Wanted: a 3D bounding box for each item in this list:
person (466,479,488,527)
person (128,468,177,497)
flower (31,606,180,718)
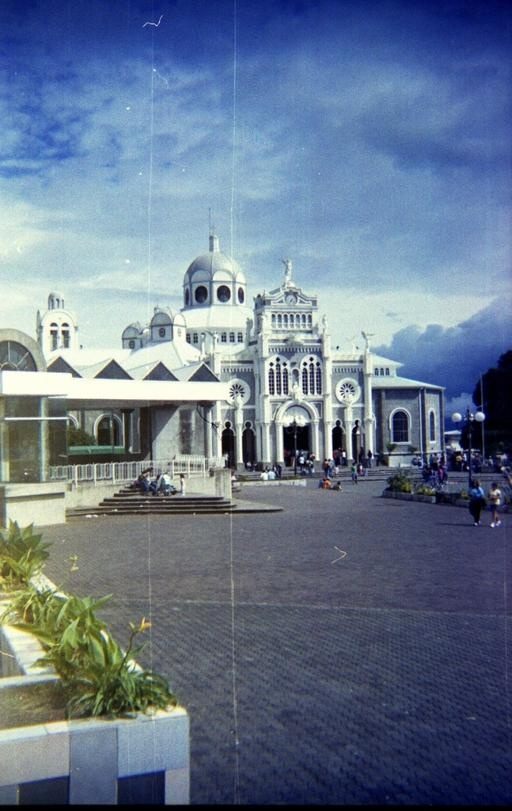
[{"bbox_3d":[4.949,2.158,15.699,0.306,0.978,1.888,-3,-4,18],"label":"person"},{"bbox_3d":[-2.918,2.168,19.566,1.134,0.785,1.222,0,-4,-26],"label":"person"},{"bbox_3d":[-0.755,1.298,3.456,0.425,0.300,0.587,7,-9,-30],"label":"flower"}]
